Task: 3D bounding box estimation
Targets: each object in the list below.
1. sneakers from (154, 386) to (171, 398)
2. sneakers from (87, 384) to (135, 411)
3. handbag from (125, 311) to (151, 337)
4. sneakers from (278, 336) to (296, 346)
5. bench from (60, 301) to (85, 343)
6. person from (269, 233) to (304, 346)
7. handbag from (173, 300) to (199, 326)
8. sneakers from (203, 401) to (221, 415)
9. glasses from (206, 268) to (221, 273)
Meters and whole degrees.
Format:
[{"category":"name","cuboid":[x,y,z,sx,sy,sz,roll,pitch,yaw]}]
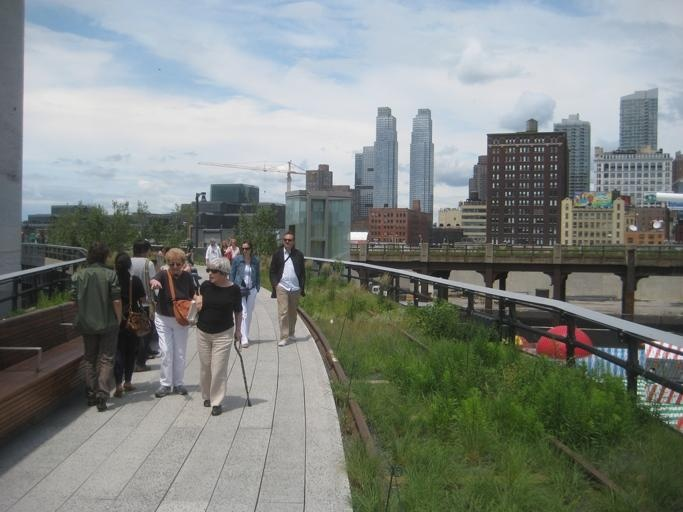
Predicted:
[{"category":"sneakers","cuboid":[-2.535,1.927,8.980,0.090,0.125,0.292,2,-12,3]},{"category":"sneakers","cuboid":[-3.182,1.915,8.666,0.186,0.281,0.605,1,9,12]},{"category":"handbag","cuboid":[-2.908,0.967,9.019,0.145,0.333,0.310,-14,-16,29]},{"category":"sneakers","cuboid":[-1.108,1.679,12.463,0.116,0.187,0.400,-1,-14,16]},{"category":"bench","cuboid":[-4.033,1.003,9.493,0.297,0.490,0.642,-4,5,0]},{"category":"person","cuboid":[-1.072,0.653,12.446,0.668,2.229,0.837,0,7,-6]},{"category":"handbag","cuboid":[-2.167,0.802,8.825,0.294,0.457,0.346,1,-7,-4]},{"category":"sneakers","cuboid":[-1.718,2.022,8.446,0.108,0.138,0.311,1,-5,-23]},{"category":"glasses","cuboid":[-1.722,0.192,8.449,0.219,0.059,0.091,5,9,24]}]
